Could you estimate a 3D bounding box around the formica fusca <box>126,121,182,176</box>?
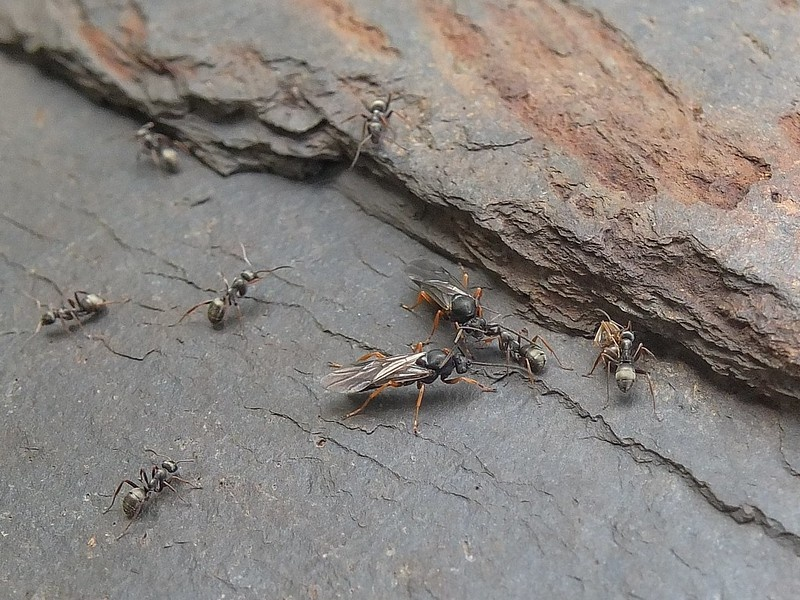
[{"bbox_3d":[-2.310,-1.445,7.419,0.499,0.299,0.233,35,45,8],"label":"formica fusca"}]
